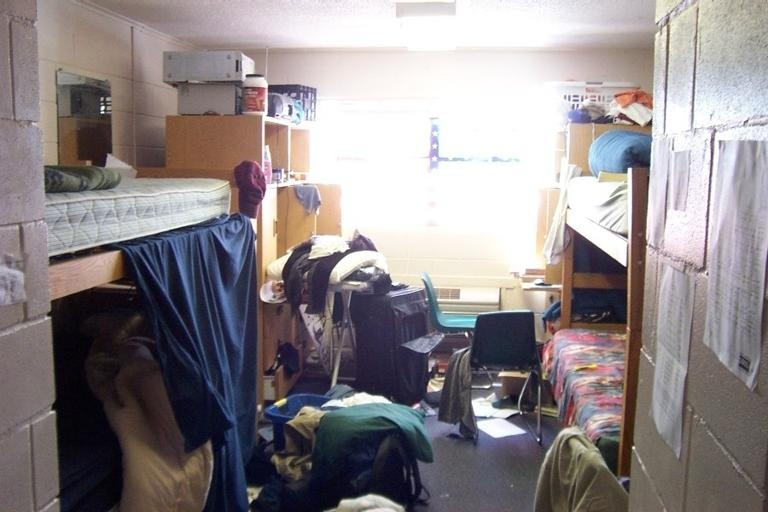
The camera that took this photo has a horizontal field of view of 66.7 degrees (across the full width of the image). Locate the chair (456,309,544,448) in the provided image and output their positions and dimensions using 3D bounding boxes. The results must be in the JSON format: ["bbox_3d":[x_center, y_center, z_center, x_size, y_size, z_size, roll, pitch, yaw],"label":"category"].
[{"bbox_3d":[0.902,0.892,4.564,0.699,0.958,0.725,-2,4,-16],"label":"chair"}]

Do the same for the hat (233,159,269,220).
[{"bbox_3d":[-0.880,-0.429,3.854,0.272,0.340,0.148,3,-10,2],"label":"hat"}]

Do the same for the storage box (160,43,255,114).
[{"bbox_3d":[-1.324,-1.267,4.328,0.535,0.329,0.528,0,3,0],"label":"storage box"}]

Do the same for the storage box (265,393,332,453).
[{"bbox_3d":[-0.631,1.132,4.003,0.299,0.170,0.401,0,0,-4],"label":"storage box"}]

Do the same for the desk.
[{"bbox_3d":[-0.397,0.447,4.985,0.705,1.370,1.451,0,3,1],"label":"desk"}]

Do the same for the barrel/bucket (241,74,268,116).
[{"bbox_3d":[-0.957,-1.177,4.310,0.203,0.295,0.205,3,14,-1],"label":"barrel/bucket"}]

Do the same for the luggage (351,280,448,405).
[{"bbox_3d":[0.029,0.742,5.313,0.906,1.114,0.804,0,2,19],"label":"luggage"}]
